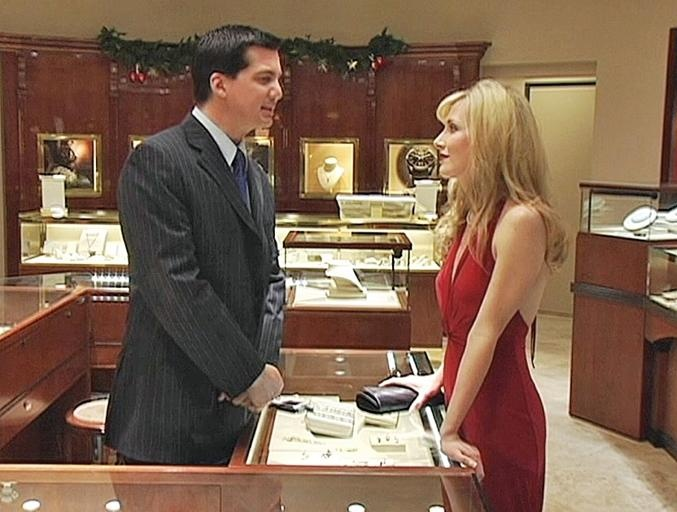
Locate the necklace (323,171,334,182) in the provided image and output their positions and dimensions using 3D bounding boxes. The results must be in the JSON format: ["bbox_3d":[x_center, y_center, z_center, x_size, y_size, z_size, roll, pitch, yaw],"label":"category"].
[{"bbox_3d":[-0.115,-0.964,6.922,0.124,0.137,0.035,-1,0,5],"label":"necklace"}]

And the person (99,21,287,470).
[{"bbox_3d":[-0.407,0.021,1.848,0.481,1.453,0.474,1,6,5],"label":"person"}]

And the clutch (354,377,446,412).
[{"bbox_3d":[0.221,0.464,1.955,0.279,0.081,0.112,2,8,-16],"label":"clutch"}]

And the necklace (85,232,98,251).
[{"bbox_3d":[-2.698,-0.157,6.257,0.109,0.191,0.089,0,11,-17],"label":"necklace"}]
